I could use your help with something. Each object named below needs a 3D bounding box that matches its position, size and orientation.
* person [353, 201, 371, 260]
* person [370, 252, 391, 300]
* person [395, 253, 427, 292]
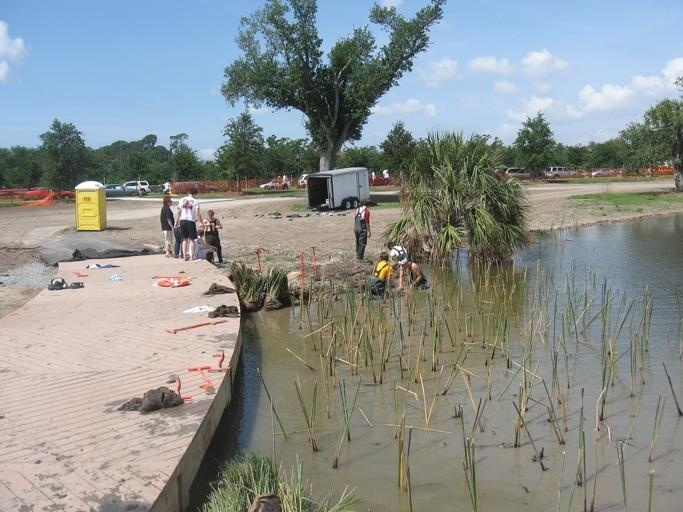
[{"bbox_3d":[0.624,-0.803,18.491,0.429,1.818,0.838,2,12,0],"label":"person"},{"bbox_3d":[0.983,0.448,14.736,0.520,0.997,1.286,3,13,5],"label":"person"},{"bbox_3d":[1.781,0.447,15.627,0.819,0.997,0.635,-12,8,-16],"label":"person"}]
